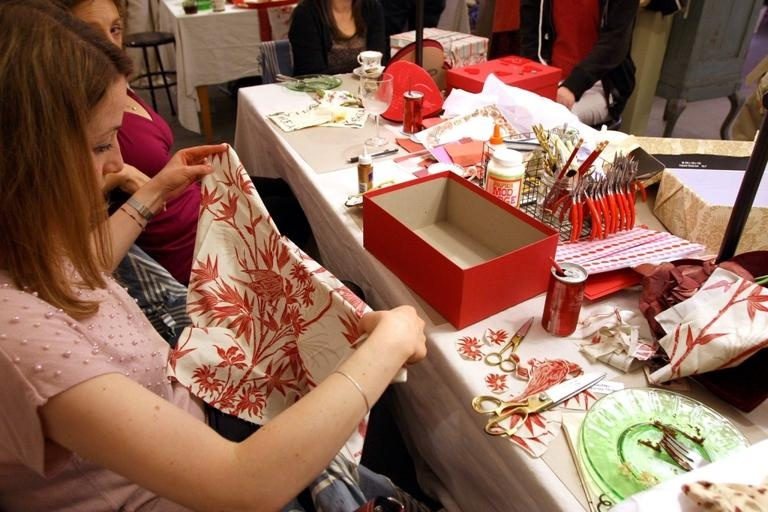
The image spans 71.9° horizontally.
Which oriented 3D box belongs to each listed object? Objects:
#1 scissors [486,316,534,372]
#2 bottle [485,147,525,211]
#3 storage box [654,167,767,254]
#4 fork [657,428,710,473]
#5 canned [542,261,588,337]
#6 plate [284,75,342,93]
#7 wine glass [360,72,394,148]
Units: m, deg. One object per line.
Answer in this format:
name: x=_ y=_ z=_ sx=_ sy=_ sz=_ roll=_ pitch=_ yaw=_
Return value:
scissors: x=0.309 y=0.205 z=1.242 sx=0.072 sy=0.035 sz=0.180 roll=26 pitch=41 yaw=32
bottle: x=0.357 y=-0.206 z=1.544 sx=0.108 sy=0.172 sz=0.119 roll=-11 pitch=37 yaw=-16
storage box: x=0.943 y=-0.221 z=1.532 sx=0.286 sy=0.110 sz=0.292 roll=10 pitch=40 yaw=13
fork: x=0.571 y=0.377 z=1.014 sx=0.051 sy=0.024 sz=0.079 roll=-26 pitch=42 yaw=-35
canned: x=0.423 y=0.101 z=1.245 sx=0.085 sy=0.160 sz=0.085 roll=4 pitch=33 yaw=5
plate: x=-0.343 y=-0.843 z=2.593 sx=0.173 sy=0.024 sz=0.176 roll=10 pitch=35 yaw=11
wine glass: x=-0.022 y=-0.591 z=2.084 sx=0.131 sy=0.321 sz=0.118 roll=-13 pitch=33 yaw=-23
